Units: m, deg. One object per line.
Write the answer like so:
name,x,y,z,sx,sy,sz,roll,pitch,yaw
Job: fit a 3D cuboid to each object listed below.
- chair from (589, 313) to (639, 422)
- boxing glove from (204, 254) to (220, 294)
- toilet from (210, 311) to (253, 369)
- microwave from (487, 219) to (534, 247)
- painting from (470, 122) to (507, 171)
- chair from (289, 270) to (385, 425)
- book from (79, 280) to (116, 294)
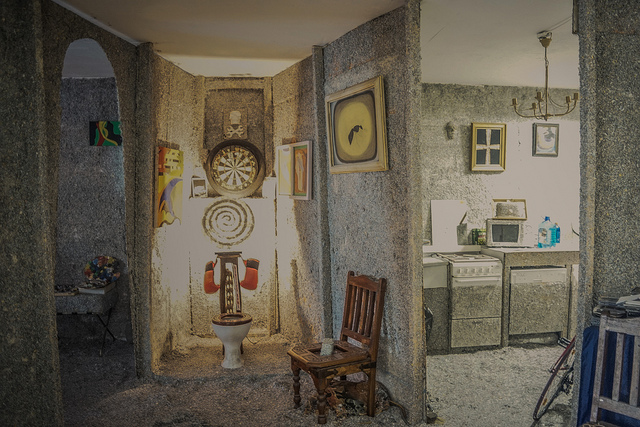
chair,2.210,1.173,3.698,0.334,0.815,0.448,8,16,25
boxing glove,-1.247,0.712,5.659,0.143,0.405,0.302,1,-3,-3
toilet,-0.833,1.378,5.371,0.507,0.557,0.512,-1,-1,7
microwave,2.386,0.262,6.447,0.538,0.333,0.284,0,0,-7
painting,2.220,-0.881,6.514,0.536,0.638,0.058,-2,6,-17
chair,0.208,1.243,4.540,0.792,1.195,0.724,-10,18,-37
book,-2.561,0.895,5.706,0.393,0.092,0.216,-9,18,-35
